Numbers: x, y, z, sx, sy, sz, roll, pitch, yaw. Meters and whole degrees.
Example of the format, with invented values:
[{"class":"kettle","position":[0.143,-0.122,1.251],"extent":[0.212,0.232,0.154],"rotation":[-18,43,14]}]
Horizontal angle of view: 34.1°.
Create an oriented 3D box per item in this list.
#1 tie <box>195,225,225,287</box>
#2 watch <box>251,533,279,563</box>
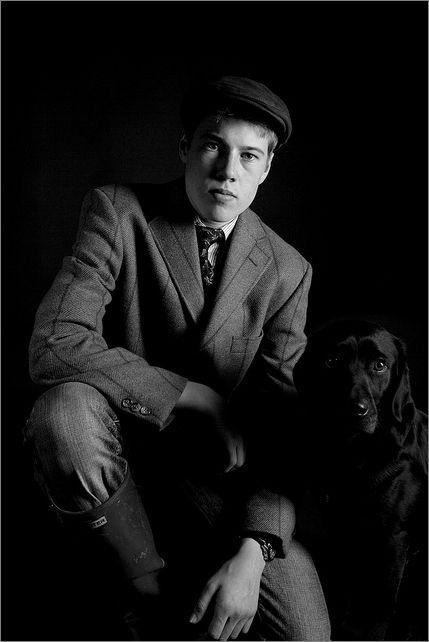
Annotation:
[{"class":"tie","position":[-0.003,-0.192,2.045],"extent":[0.038,0.153,0.130],"rotation":[-18,35,-33]},{"class":"watch","position":[0.137,0.604,1.843],"extent":[0.053,0.080,0.021],"rotation":[33,52,31]}]
